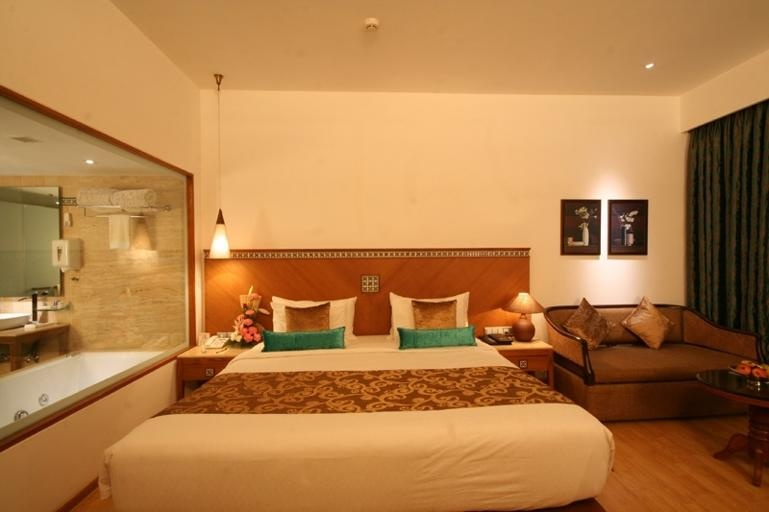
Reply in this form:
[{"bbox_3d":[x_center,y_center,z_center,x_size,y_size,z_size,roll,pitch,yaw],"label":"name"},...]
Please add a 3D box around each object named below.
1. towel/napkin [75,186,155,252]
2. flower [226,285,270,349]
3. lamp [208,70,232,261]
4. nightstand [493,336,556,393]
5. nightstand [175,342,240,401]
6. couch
[{"bbox_3d":[-2.812,-0.385,5.568,0.749,0.668,0.282,0,0,-43],"label":"towel/napkin"},{"bbox_3d":[-1.624,0.739,6.426,0.687,0.833,0.607,5,-4,-27],"label":"flower"},{"bbox_3d":[-2.043,-1.053,6.547,0.284,2.198,0.394,-3,3,-19],"label":"lamp"},{"bbox_3d":[1.651,1.272,6.599,0.702,0.719,0.513,0,2,-3],"label":"nightstand"},{"bbox_3d":[-2.014,1.236,6.341,0.782,0.715,0.560,0,1,-3],"label":"nightstand"},{"bbox_3d":[3.001,1.283,6.563,2.053,1.033,1.252,-1,0,-2],"label":"couch"}]
